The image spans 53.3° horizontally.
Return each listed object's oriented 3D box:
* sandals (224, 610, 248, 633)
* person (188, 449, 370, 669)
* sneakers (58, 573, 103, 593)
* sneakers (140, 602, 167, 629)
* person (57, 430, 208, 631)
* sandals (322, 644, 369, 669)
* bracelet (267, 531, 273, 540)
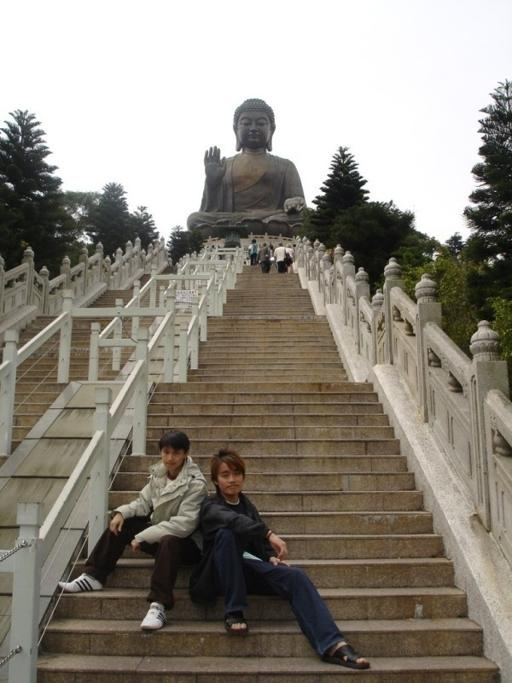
[{"bbox_3d":[-0.096,1.363,2.437,0.075,0.091,0.222,0,-25,-4],"label":"sandals"},{"bbox_3d":[0.053,1.061,2.628,0.511,0.938,1.080,19,-23,-37],"label":"person"},{"bbox_3d":[-0.959,1.368,2.816,0.229,0.107,0.087,11,-15,-10],"label":"sneakers"},{"bbox_3d":[-0.500,1.387,2.529,0.134,0.123,0.101,10,-10,-21],"label":"sneakers"},{"bbox_3d":[-0.606,0.982,2.776,0.665,0.932,0.742,10,-8,-21],"label":"person"},{"bbox_3d":[0.400,1.424,2.316,0.212,0.096,0.079,-12,-18,38],"label":"sandals"},{"bbox_3d":[0.073,1.044,2.704,0.029,0.049,0.044,1,-22,-1],"label":"bracelet"}]
